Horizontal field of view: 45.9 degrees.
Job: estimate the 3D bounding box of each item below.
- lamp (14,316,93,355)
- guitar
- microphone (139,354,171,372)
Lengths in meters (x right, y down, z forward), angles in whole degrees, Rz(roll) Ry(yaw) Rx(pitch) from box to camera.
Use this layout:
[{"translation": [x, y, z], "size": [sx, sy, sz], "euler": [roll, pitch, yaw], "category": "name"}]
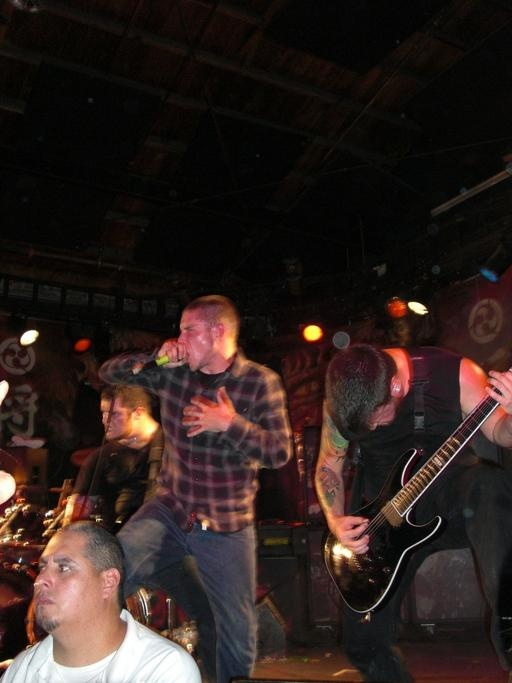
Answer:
[{"translation": [-2.268, -0.050, 6.953], "size": [1.035, 0.328, 0.214], "euler": [10, 17, -32], "category": "lamp"}, {"translation": [0.649, 0.695, 2.538], "size": [0.713, 0.920, 0.174], "euler": [-1, -4, 22], "category": "guitar"}, {"translation": [-0.441, 0.090, 2.611], "size": [0.061, 0.027, 0.155], "euler": [-28, 6, -36], "category": "microphone"}]
